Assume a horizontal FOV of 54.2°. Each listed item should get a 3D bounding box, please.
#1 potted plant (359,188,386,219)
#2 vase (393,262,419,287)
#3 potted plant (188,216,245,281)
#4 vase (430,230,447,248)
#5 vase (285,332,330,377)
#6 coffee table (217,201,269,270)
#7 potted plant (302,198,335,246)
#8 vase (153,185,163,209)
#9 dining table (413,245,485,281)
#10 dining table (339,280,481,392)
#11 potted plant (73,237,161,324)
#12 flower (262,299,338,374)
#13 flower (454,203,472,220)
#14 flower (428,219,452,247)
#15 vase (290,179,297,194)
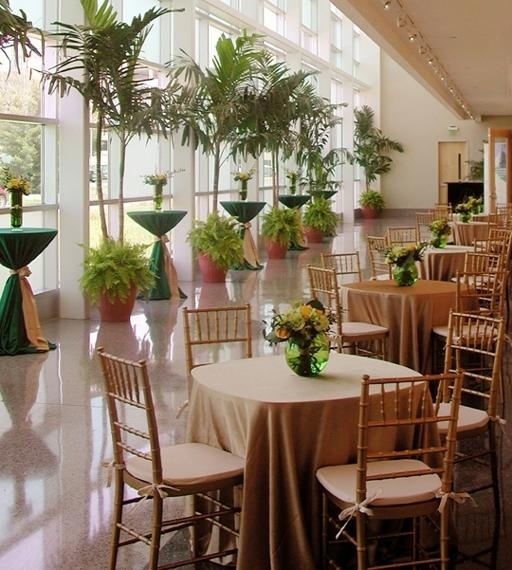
[{"bbox_3d":[4.586,-3.188,19.975,1.132,1.052,1.132,2,6,25],"label":"potted plant"},{"bbox_3d":[1.160,-0.084,3.886,0.193,0.204,0.186,-4,3,4],"label":"vase"},{"bbox_3d":[-0.629,-0.595,8.613,1.055,1.016,1.063,1,-1,-2],"label":"potted plant"},{"bbox_3d":[2.133,-0.533,5.868,0.184,0.240,0.181,-1,4,9],"label":"vase"},{"bbox_3d":[0.208,0.265,1.973,0.169,0.180,0.163,1,1,-34],"label":"vase"},{"bbox_3d":[-0.466,-0.982,9.846,1.266,1.338,1.220,3,7,35],"label":"coffee table"},{"bbox_3d":[1.675,-1.721,13.601,1.217,1.236,1.164,0,1,-3],"label":"potted plant"},{"bbox_3d":[-1.420,-1.245,7.197,0.108,0.354,0.070,-4,8,-22],"label":"vase"},{"bbox_3d":[2.141,-0.245,5.813,0.623,0.404,0.594,0,4,2],"label":"dining table"},{"bbox_3d":[1.102,0.350,3.773,0.787,0.661,0.743,0,4,-2],"label":"dining table"},{"bbox_3d":[-1.619,-0.029,6.143,0.987,0.915,0.962,1,2,-3],"label":"potted plant"},{"bbox_3d":[0.184,0.196,1.989,0.287,0.263,0.278,-12,11,-39],"label":"flower"},{"bbox_3d":[3.584,-1.242,8.642,0.210,0.306,0.690,2,7,22],"label":"flower"},{"bbox_3d":[2.175,-0.606,5.958,0.215,0.329,0.369,1,7,15],"label":"flower"},{"bbox_3d":[0.931,-2.435,12.706,0.141,0.334,0.424,-1,7,-1],"label":"vase"}]
